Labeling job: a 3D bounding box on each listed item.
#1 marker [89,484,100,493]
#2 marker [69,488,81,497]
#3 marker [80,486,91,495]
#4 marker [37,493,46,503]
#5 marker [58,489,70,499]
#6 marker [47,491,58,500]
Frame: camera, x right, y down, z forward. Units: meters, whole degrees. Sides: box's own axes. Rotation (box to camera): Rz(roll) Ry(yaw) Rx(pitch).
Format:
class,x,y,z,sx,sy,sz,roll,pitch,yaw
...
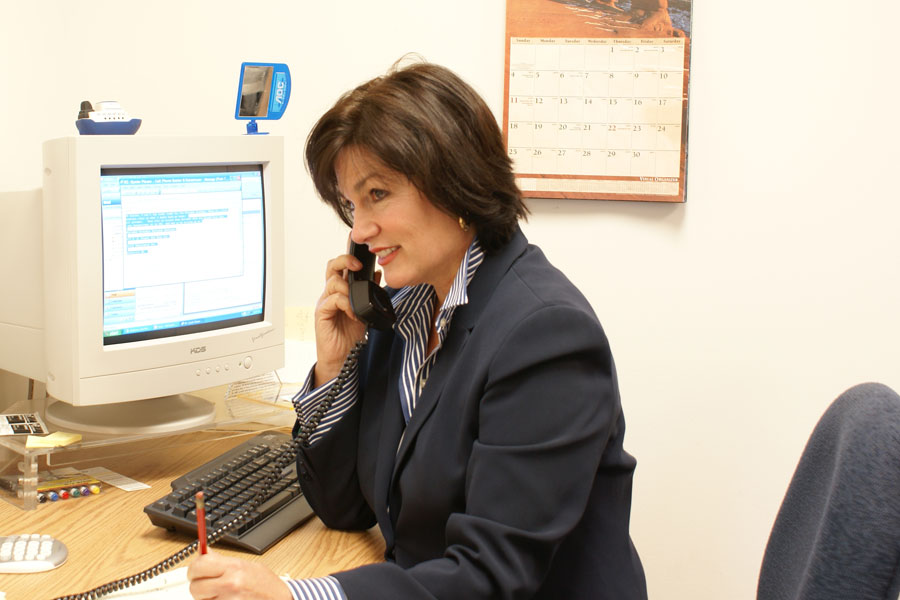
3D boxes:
class,x,y,z,sx,sy,sz,roll,pitch,yaw
marker,-0.832,0.440,1.639,0.018,0.012,0.018,8,-10,-37
marker,-0.873,0.446,1.632,0.015,0.014,0.015,7,7,-3
marker,-0.852,0.444,1.639,0.015,0.015,0.015,-25,-24,37
marker,-0.937,0.453,1.611,0.017,0.017,0.027,-30,13,-30
marker,-0.895,0.449,1.626,0.017,0.018,0.021,5,-5,-36
marker,-0.916,0.448,1.613,0.019,0.015,0.015,-5,-12,45
